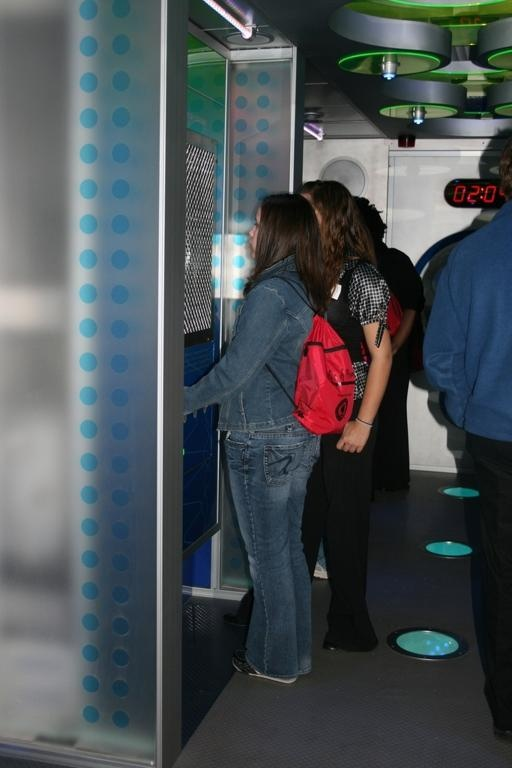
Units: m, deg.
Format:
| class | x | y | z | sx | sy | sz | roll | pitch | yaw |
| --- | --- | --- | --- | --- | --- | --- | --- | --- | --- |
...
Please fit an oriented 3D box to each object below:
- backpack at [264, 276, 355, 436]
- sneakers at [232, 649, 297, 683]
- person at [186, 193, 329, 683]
| class | x | y | z | sx | sy | sz | roll | pitch | yaw |
| --- | --- | --- | --- | --- | --- | --- | --- | --- | --- |
| backpack | 0.215 | -0.030 | 1.943 | 0.203 | 0.356 | 0.157 | 1 | 2 | -14 |
| sneakers | 0.023 | 0.979 | 2.285 | 0.208 | 0.082 | 0.077 | 14 | -1 | 25 |
| person | 0.019 | 0.221 | 2.045 | 0.364 | 1.604 | 0.483 | 1 | 2 | 11 |
